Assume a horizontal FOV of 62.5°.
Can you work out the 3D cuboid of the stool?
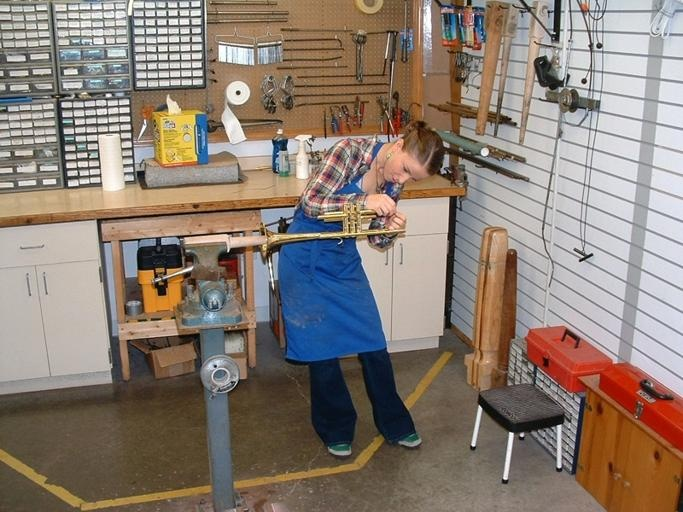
[{"bbox_3d":[1.126,1.107,3.585,0.593,0.410,0.592,8,13,26],"label":"stool"}]

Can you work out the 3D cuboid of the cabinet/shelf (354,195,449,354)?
[{"bbox_3d":[0.485,0.080,5.056,1.101,1.571,0.506,-4,17,-13],"label":"cabinet/shelf"}]

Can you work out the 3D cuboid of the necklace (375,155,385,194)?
[{"bbox_3d":[0.230,-0.466,3.304,0.054,0.217,0.133,-3,19,4],"label":"necklace"}]

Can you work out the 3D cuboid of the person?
[{"bbox_3d":[0.021,0.228,3.548,0.964,2.278,0.953,-1,8,-14],"label":"person"}]

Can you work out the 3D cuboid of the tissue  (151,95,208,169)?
[{"bbox_3d":[-1.360,-1.021,4.650,0.301,0.541,0.421,-6,15,-31],"label":"tissue "}]

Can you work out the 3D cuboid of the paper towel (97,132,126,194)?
[{"bbox_3d":[-1.842,-0.738,4.462,0.187,0.419,0.241,-6,19,-7],"label":"paper towel"}]

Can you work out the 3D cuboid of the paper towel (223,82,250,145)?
[{"bbox_3d":[-0.917,-1.229,4.888,0.262,0.540,0.263,-7,19,-10],"label":"paper towel"}]

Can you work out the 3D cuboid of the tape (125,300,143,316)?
[{"bbox_3d":[-1.635,0.406,4.443,0.110,0.080,0.112,4,13,15],"label":"tape"}]
